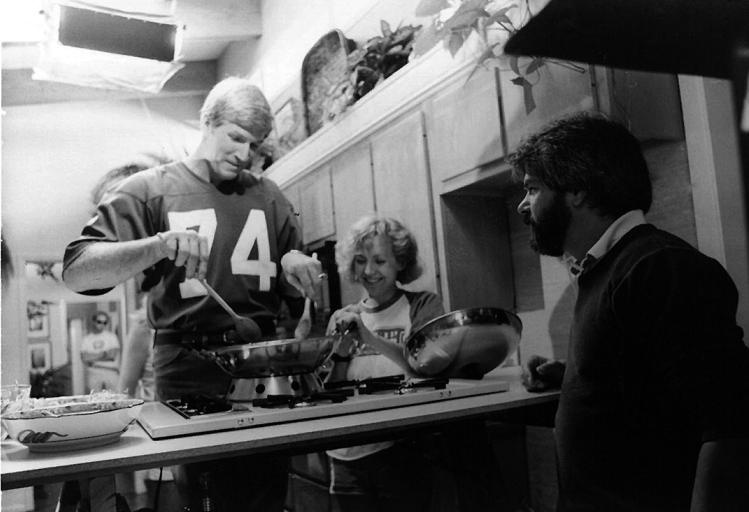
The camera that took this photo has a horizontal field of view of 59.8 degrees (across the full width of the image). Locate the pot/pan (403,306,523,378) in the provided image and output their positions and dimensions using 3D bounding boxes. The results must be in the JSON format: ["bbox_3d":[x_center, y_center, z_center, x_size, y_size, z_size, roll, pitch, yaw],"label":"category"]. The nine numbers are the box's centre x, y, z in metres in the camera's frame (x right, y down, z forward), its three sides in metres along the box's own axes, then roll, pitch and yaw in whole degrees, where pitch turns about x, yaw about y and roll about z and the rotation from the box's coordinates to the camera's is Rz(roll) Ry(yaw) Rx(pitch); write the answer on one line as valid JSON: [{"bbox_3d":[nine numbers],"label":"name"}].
[{"bbox_3d":[0.267,0.263,1.936,0.337,0.210,0.152,-3,-6,7],"label":"pot/pan"}]

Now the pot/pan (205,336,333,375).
[{"bbox_3d":[-0.272,0.263,1.681,0.352,0.098,0.163,-1,-5,-9],"label":"pot/pan"}]

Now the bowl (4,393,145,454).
[{"bbox_3d":[-0.701,0.380,1.502,0.311,0.112,0.247,0,-6,-20],"label":"bowl"}]
